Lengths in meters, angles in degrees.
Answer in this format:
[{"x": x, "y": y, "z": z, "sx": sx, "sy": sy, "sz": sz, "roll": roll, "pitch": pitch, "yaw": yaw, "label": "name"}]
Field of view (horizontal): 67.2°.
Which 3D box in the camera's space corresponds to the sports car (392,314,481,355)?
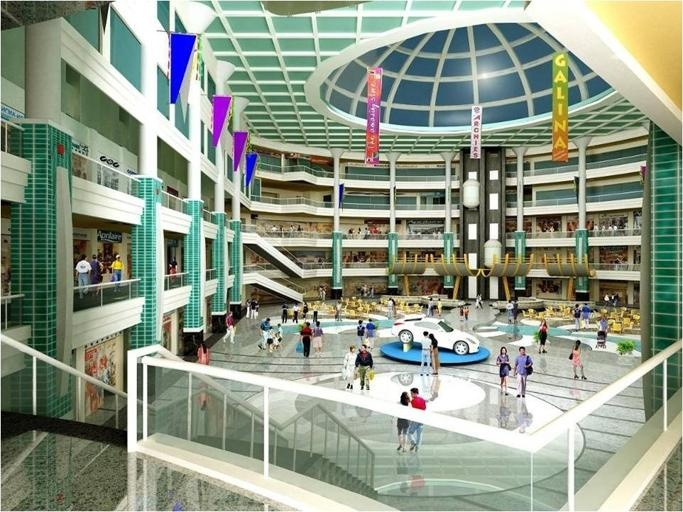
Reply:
[{"x": 3.483, "y": 2.839, "z": 19.087, "sx": 2.970, "sy": 1.063, "sz": 1.343, "roll": 9, "pitch": 6, "yaw": 20, "label": "sports car"}]
